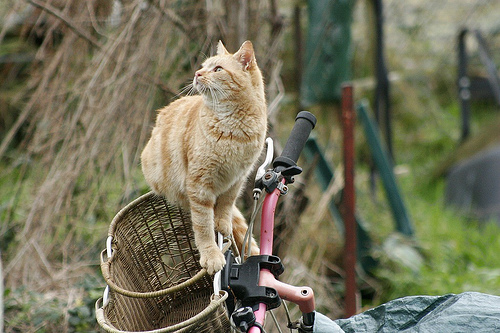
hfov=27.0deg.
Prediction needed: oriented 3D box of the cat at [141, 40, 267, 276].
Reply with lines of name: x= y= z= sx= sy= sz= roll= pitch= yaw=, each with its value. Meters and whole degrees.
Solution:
cat: x=-0.393 y=-0.252 z=8.628 sx=0.695 sy=1.935 sz=1.777 roll=-16 pitch=21 yaw=-25
